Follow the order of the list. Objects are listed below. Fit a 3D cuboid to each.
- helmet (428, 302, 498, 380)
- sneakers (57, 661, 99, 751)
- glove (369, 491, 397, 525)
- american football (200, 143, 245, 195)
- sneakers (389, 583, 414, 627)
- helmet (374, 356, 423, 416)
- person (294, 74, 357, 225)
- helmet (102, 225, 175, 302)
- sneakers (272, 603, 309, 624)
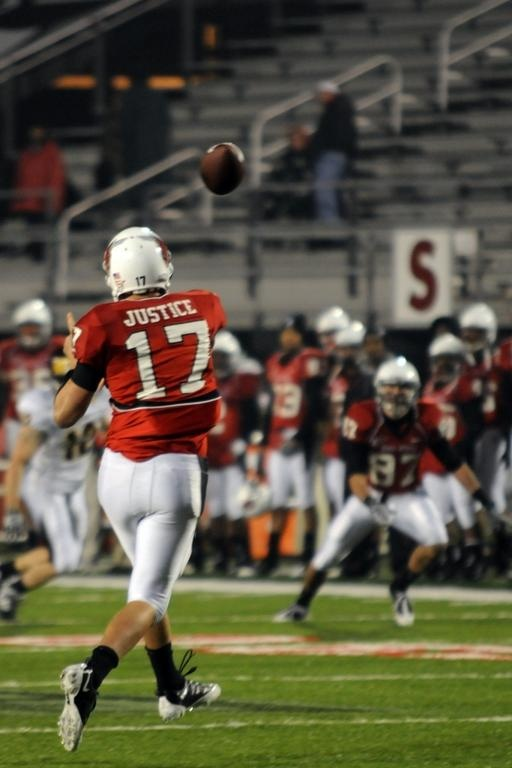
[{"bbox_3d":[1.068,-0.193,6.548,0.271,0.338,0.360,-8,-32,31],"label":"helmet"},{"bbox_3d":[-0.449,0.805,3.405,0.124,0.220,0.089,13,-11,-10],"label":"sneakers"},{"bbox_3d":[0.484,0.499,5.428,0.142,0.046,0.103,41,-2,33],"label":"glove"},{"bbox_3d":[-0.108,-0.692,4.348,0.133,0.134,0.174,-6,-19,-14],"label":"american football"},{"bbox_3d":[0.579,0.892,5.329,0.054,0.066,0.172,4,26,-10],"label":"sneakers"},{"bbox_3d":[0.606,-0.007,5.782,0.204,0.241,0.267,6,13,9],"label":"helmet"},{"bbox_3d":[0.394,-1.227,7.181,0.260,0.695,0.626,-2,1,0],"label":"person"},{"bbox_3d":[-0.334,-0.342,3.856,0.209,0.228,0.259,-10,12,-4],"label":"helmet"},{"bbox_3d":[0.133,0.921,5.386,0.123,0.053,0.077,-11,-12,21],"label":"sneakers"}]
